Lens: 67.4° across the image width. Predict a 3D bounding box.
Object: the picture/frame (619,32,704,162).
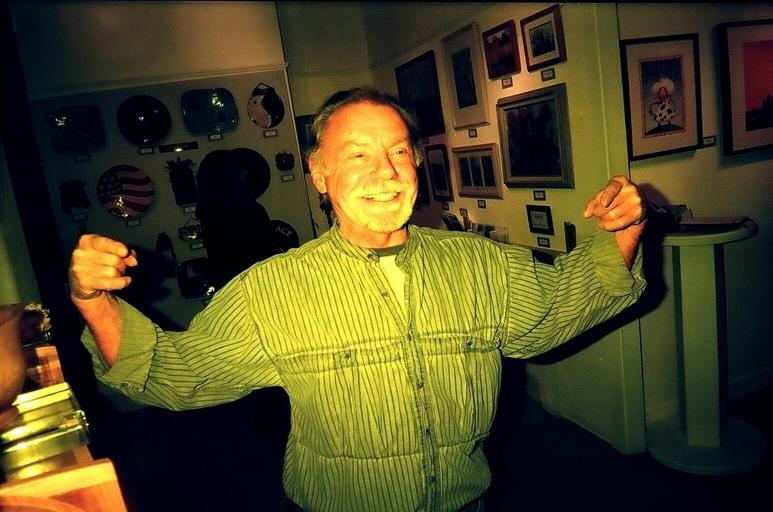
[{"bbox_3d":[2.052,-1.235,4.401,0.928,1.184,0.049,-9,8,-23],"label":"picture/frame"}]
